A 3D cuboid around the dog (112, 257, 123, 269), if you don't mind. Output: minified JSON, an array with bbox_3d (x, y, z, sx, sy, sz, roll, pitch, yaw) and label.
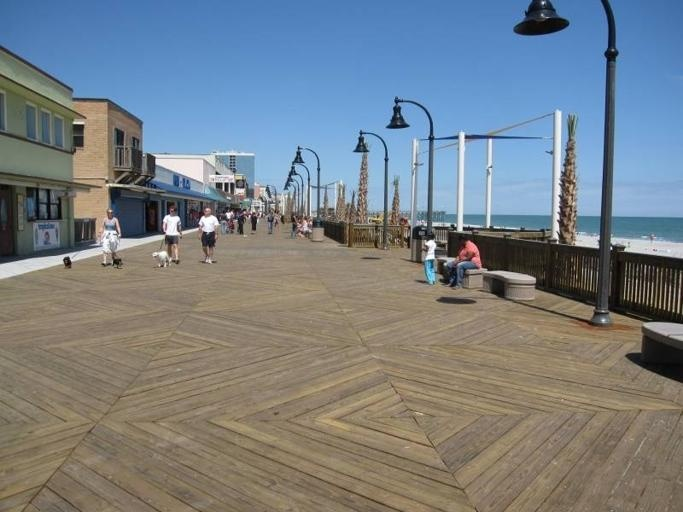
[{"bbox_3d":[-7.342,0.182,18.468,0.206,0.478,0.793,1,10,-18],"label":"dog"}]

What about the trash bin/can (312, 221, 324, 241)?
[{"bbox_3d":[-1.550,-1.590,35.971,0.593,1.365,1.142,-1,9,-10],"label":"trash bin/can"}]

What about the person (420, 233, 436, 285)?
[{"bbox_3d":[2.434,0.088,15.364,0.333,1.480,1.548,2,10,10],"label":"person"}]

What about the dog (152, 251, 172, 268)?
[{"bbox_3d":[-6.007,0.132,18.916,0.209,0.462,0.829,-12,-14,6],"label":"dog"}]

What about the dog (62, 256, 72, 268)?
[{"bbox_3d":[-8.877,0.219,18.292,0.184,0.414,0.259,-3,-6,-22],"label":"dog"}]
